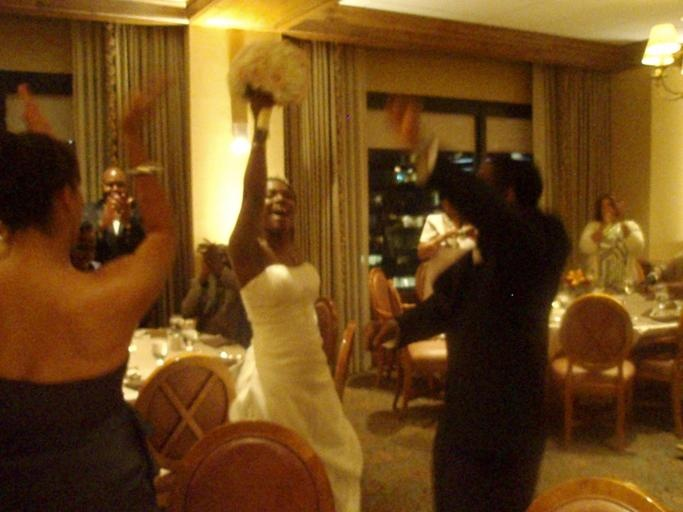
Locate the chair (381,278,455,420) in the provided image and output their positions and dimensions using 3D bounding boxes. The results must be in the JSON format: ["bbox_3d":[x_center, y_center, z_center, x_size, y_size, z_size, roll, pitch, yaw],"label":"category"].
[{"bbox_3d":[0.612,0.767,4.924,0.784,1.218,0.786,-2,1,5],"label":"chair"}]
